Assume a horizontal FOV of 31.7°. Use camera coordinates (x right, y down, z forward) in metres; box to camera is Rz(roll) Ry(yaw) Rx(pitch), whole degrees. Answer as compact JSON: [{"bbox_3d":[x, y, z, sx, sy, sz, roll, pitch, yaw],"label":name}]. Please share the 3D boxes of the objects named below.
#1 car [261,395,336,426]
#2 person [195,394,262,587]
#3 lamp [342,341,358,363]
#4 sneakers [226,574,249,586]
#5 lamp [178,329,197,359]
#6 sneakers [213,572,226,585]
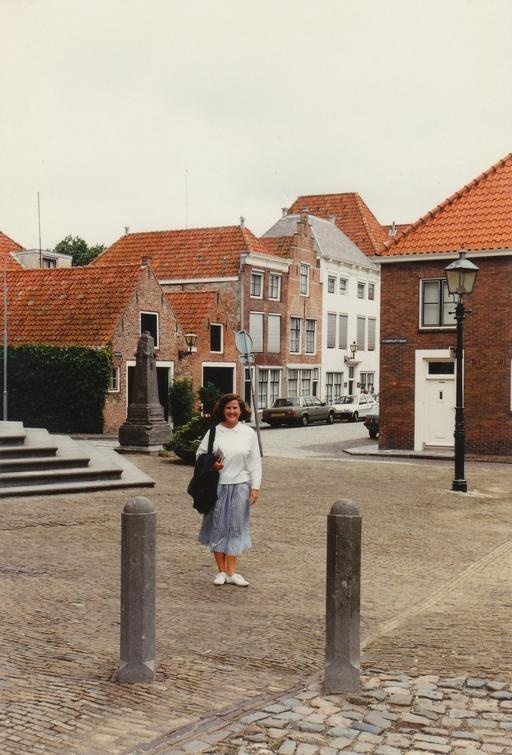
[{"bbox_3d":[1.686,1.538,38.825,1.223,0.858,2.765,1,6,34],"label":"car"},{"bbox_3d":[-0.232,0.922,7.478,0.522,1.524,0.635,2,-2,-3],"label":"person"},{"bbox_3d":[5.651,-1.285,53.899,0.543,1.343,1.471,1,-2,20],"label":"lamp"},{"bbox_3d":[-0.151,1.637,7.293,0.205,0.087,0.075,1,5,39],"label":"sneakers"},{"bbox_3d":[-2.653,-1.178,34.646,0.637,1.139,1.374,2,-2,-4],"label":"lamp"},{"bbox_3d":[-0.298,1.621,7.263,0.099,0.090,0.154,2,-2,1],"label":"sneakers"}]
